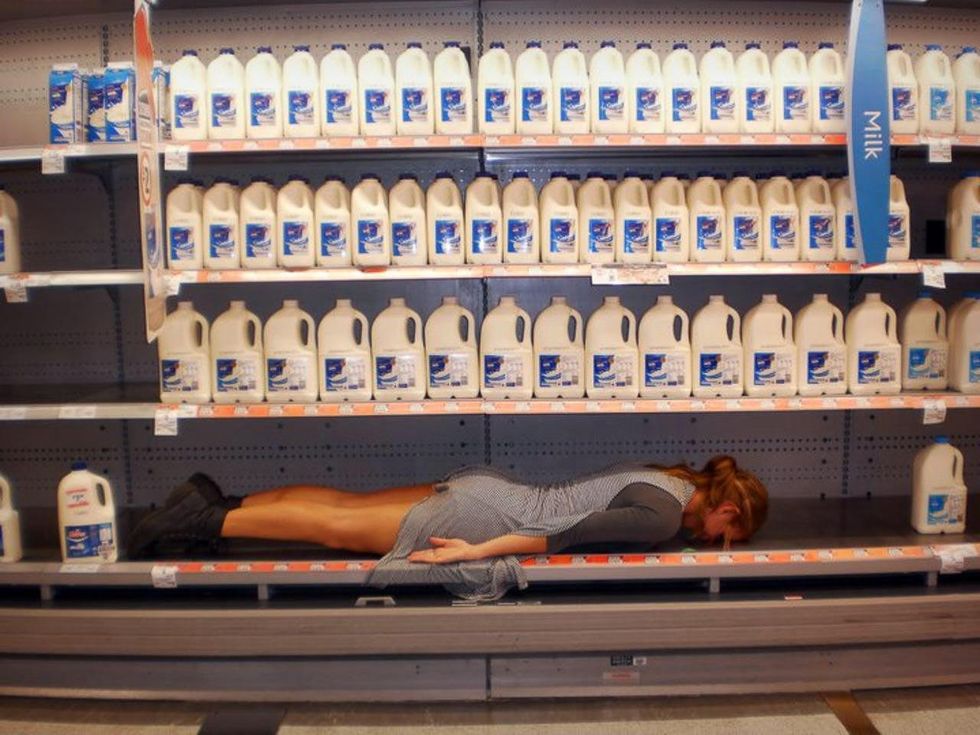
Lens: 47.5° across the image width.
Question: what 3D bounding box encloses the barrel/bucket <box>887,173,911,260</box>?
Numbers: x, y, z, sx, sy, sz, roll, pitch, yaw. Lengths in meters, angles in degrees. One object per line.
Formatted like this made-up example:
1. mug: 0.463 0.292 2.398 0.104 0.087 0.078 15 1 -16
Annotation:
1. barrel/bucket: 2.012 -0.734 5.499 0.106 0.379 0.182 -2 0 19

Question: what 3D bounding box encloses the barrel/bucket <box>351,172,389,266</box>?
1. barrel/bucket: -0.578 -0.708 5.392 0.180 0.430 0.075 -2 0 -7
